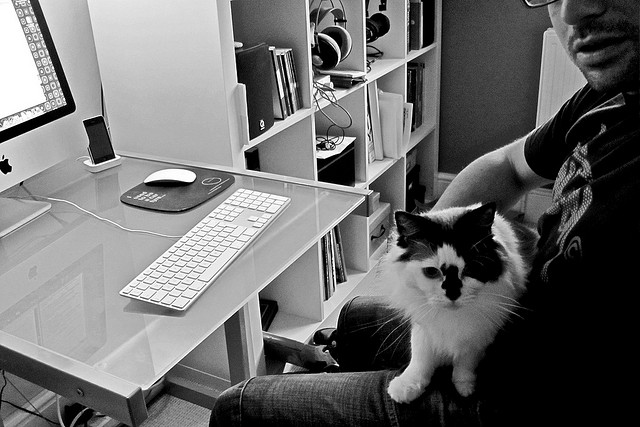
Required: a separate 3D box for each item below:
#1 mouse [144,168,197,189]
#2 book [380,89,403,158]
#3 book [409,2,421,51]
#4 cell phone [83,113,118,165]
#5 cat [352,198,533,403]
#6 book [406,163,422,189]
[{"bbox_3d":[-0.433,-0.104,1.430,0.110,0.024,0.065,1,31,-3],"label":"mouse"},{"bbox_3d":[0.332,-0.415,2.345,0.085,0.233,0.244,1,51,7],"label":"book"},{"bbox_3d":[0.461,-0.922,2.441,0.069,0.165,0.177,2,25,11],"label":"book"},{"bbox_3d":[-0.662,-0.220,1.510,0.071,0.126,0.063,-21,38,-25],"label":"cell phone"},{"bbox_3d":[0.229,0.148,0.952,0.230,0.226,0.396,-6,2,14],"label":"cat"},{"bbox_3d":[0.511,-0.206,2.752,0.031,0.110,0.125,18,10,19],"label":"book"}]
